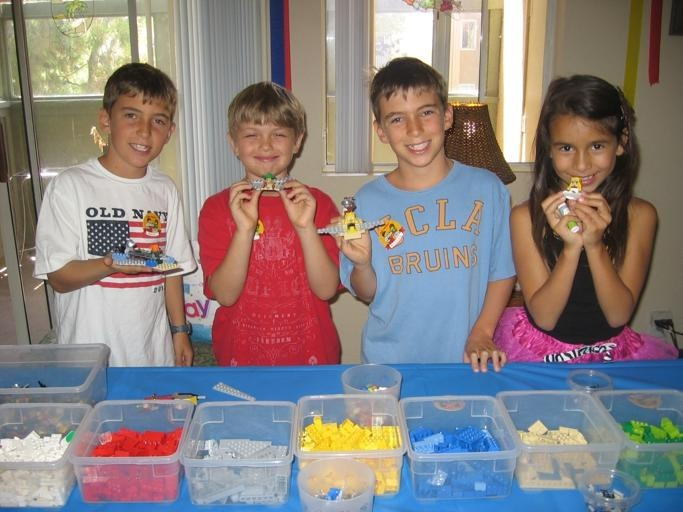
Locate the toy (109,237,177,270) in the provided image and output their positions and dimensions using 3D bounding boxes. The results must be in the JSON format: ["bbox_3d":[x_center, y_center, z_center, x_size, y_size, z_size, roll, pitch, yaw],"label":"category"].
[{"bbox_3d":[-0.768,0.008,2.265,0.168,0.067,0.135,12,2,-12],"label":"toy"}]

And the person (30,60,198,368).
[{"bbox_3d":[-0.948,-0.137,2.489,0.684,1.339,0.526,-11,17,-32],"label":"person"}]

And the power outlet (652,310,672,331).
[{"bbox_3d":[2.227,0.456,4.046,0.080,0.100,0.052,-5,6,-8],"label":"power outlet"}]

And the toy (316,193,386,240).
[{"bbox_3d":[0.064,-0.155,2.306,0.212,0.179,0.328,4,16,21],"label":"toy"}]

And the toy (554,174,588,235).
[{"bbox_3d":[0.881,-0.202,2.229,0.111,0.205,0.051,7,0,16],"label":"toy"}]

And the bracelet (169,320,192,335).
[{"bbox_3d":[-0.742,0.335,2.704,0.085,0.064,0.094,-2,-3,12],"label":"bracelet"}]

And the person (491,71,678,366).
[{"bbox_3d":[1.016,-0.148,2.373,0.706,1.144,0.486,2,15,15],"label":"person"}]
